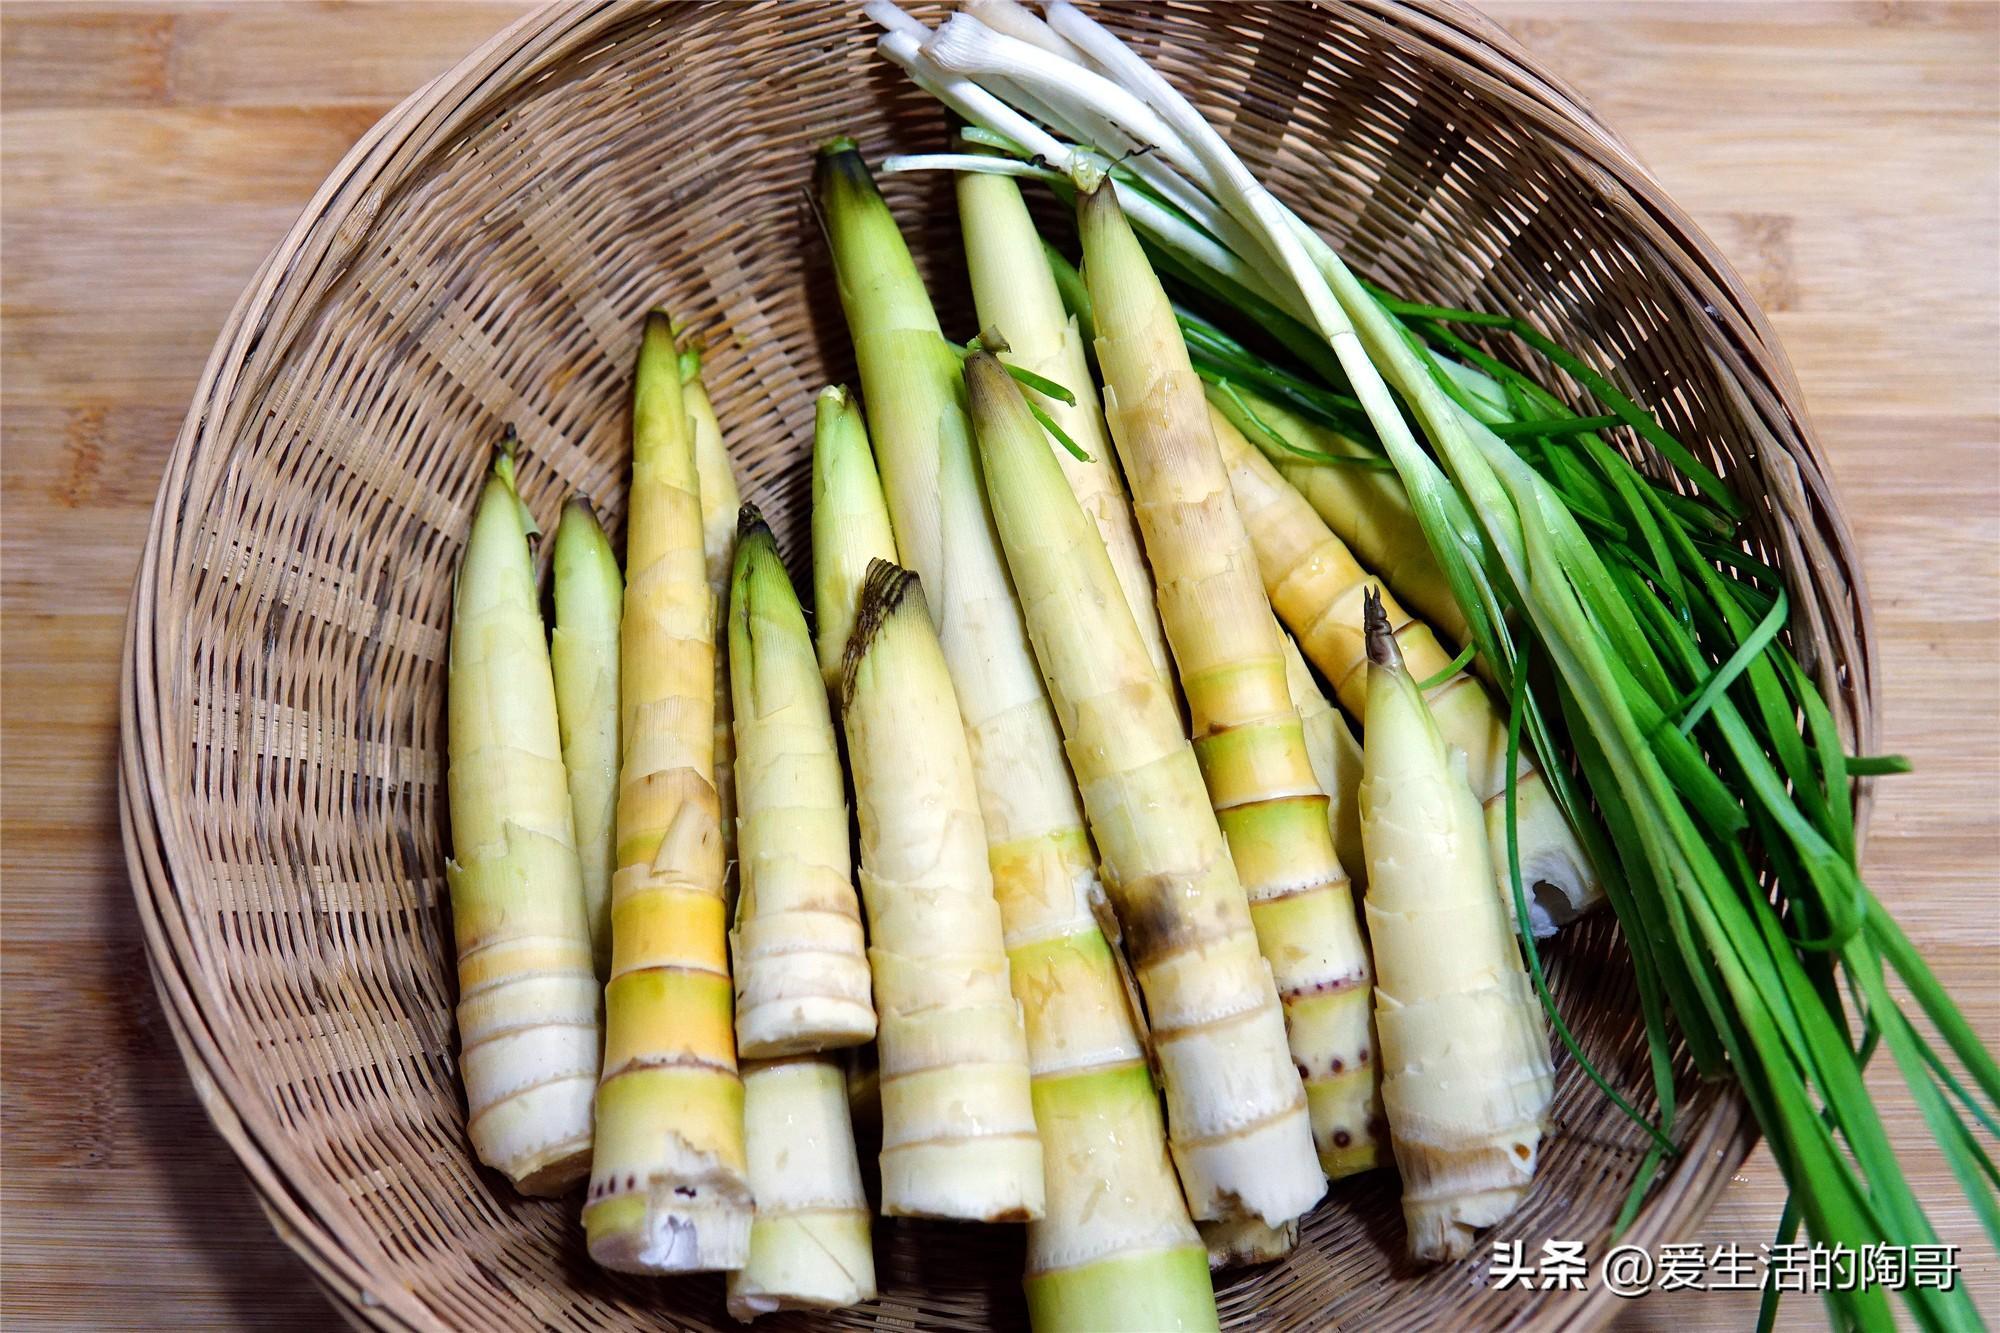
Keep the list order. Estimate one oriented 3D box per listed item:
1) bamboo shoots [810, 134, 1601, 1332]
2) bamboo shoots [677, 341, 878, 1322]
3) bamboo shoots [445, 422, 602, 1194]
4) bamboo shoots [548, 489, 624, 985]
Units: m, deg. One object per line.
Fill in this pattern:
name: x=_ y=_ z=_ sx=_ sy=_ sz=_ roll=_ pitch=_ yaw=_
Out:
bamboo shoots: x=0.094 y=0.073 z=1.391 sx=0.472 sy=0.162 sz=0.810 roll=-14 pitch=86 yaw=-1
bamboo shoots: x=-0.167 y=0.135 z=1.214 sx=0.095 sy=0.088 sz=0.570 roll=-10 pitch=74 yaw=-1
bamboo shoots: x=-0.334 y=0.118 z=1.277 sx=0.098 sy=0.100 sz=0.484 roll=-8 pitch=77 yaw=-2
bamboo shoots: x=-0.294 y=0.050 z=1.277 sx=0.049 sy=0.050 sz=0.348 roll=-3 pitch=81 yaw=-3
